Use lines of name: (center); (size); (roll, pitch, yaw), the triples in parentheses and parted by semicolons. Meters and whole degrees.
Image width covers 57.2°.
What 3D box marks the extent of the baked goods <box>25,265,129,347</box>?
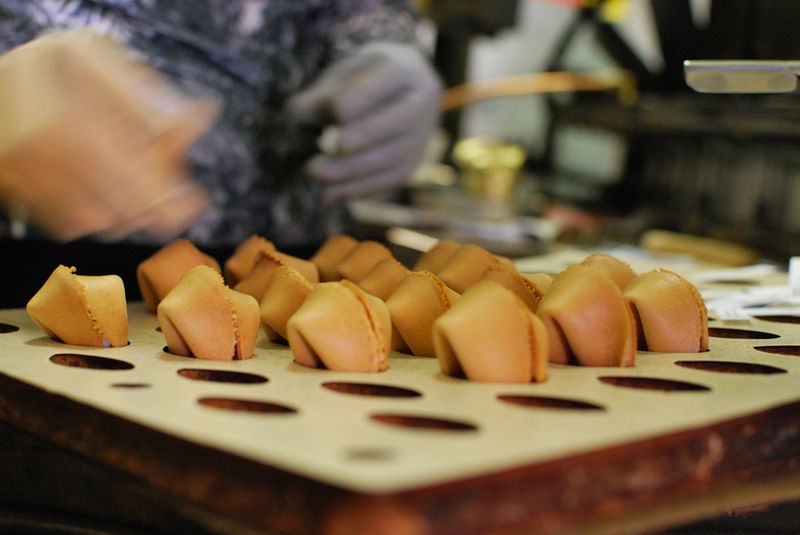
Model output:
baked goods: (-0.265, 0.036, 0.608); (0.080, 0.052, 0.076); (-7, -1, 34)

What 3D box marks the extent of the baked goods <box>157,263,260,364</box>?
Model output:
baked goods: (-0.157, 0.030, 0.596); (0.082, 0.079, 0.061); (-6, 20, -25)
